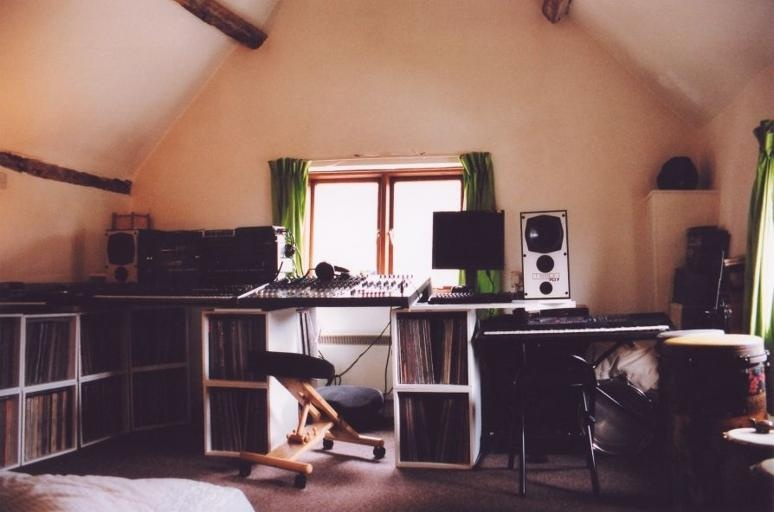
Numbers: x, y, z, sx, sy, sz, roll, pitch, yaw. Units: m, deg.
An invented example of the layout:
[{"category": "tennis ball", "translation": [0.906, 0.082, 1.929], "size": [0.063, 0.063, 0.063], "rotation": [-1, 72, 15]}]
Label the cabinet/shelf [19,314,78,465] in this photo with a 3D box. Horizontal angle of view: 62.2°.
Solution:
[{"category": "cabinet/shelf", "translation": [-2.612, 1.017, 4.989], "size": [0.368, 0.998, 0.144], "rotation": [2, -1, -34]}]

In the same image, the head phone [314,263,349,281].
[{"category": "head phone", "translation": [-0.445, 0.125, 5.103], "size": [0.266, 0.147, 0.258], "rotation": [2, -1, -33]}]

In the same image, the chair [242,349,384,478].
[{"category": "chair", "translation": [-0.552, 1.206, 5.059], "size": [0.622, 0.941, 1.132], "rotation": [-1, -5, 31]}]

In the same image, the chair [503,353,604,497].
[{"category": "chair", "translation": [1.257, 1.144, 4.590], "size": [0.697, 1.271, 0.857], "rotation": [-3, -6, 18]}]

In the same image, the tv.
[{"category": "tv", "translation": [0.682, -0.053, 5.287], "size": [0.663, 0.850, 0.263], "rotation": [0, -3, 5]}]

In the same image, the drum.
[{"category": "drum", "translation": [2.161, 0.809, 4.360], "size": [0.556, 0.539, 0.586], "rotation": [-1, -5, 4]}]
